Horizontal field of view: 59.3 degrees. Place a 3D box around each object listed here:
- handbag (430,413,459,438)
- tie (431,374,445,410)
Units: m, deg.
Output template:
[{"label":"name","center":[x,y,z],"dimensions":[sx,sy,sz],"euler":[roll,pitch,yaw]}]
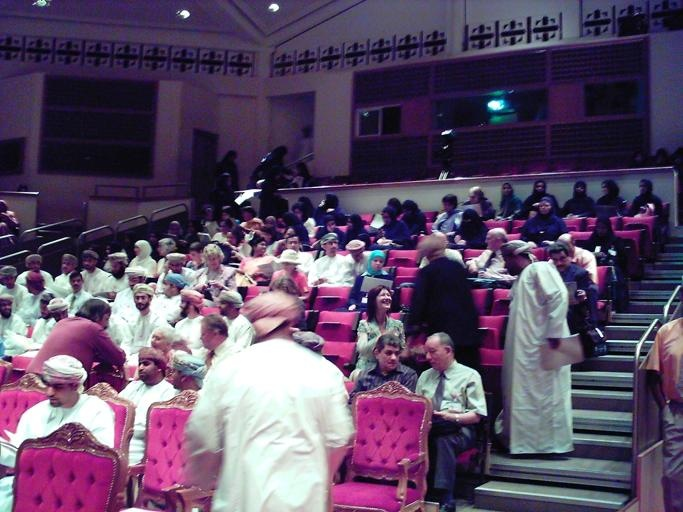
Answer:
[{"label":"handbag","center":[0.810,1.302,4.626],"dimensions":[0.153,0.078,0.196],"euler":[3,-8,-15]},{"label":"tie","center":[0.805,1.102,4.923],"dimensions":[0.090,0.287,0.114],"euler":[3,3,32]}]
